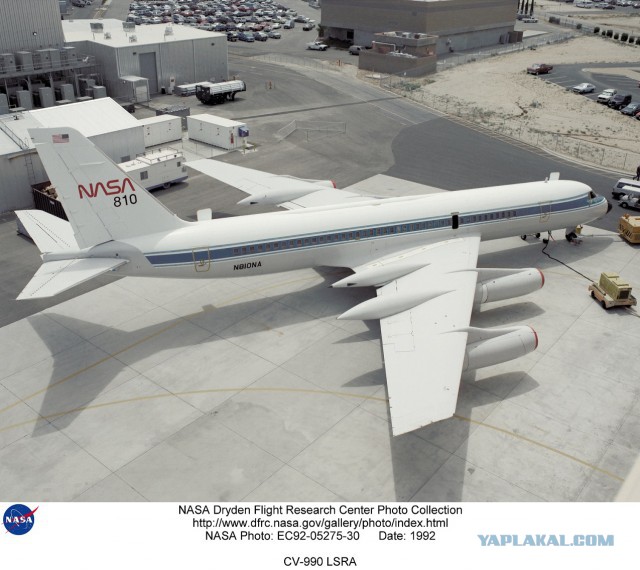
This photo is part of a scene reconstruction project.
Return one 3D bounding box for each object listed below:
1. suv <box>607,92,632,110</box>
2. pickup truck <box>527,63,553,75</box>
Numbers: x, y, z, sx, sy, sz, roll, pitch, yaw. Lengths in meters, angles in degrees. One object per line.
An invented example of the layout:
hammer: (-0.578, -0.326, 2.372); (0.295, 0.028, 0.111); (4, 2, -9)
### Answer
suv: (47.573, -29.075, 86.937); (4.656, 1.592, 2.339); (-27, 48, -20)
pickup truck: (41.915, -41.818, 105.908); (4.408, 1.727, 2.607); (-23, 36, -37)
